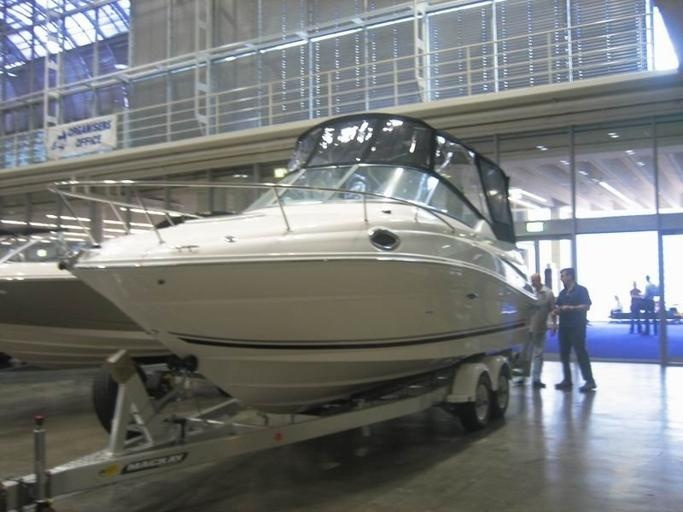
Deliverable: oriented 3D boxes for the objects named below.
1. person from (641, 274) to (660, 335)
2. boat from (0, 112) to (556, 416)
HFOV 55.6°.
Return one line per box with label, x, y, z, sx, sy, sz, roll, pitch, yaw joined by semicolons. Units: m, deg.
person;5.573;0.896;11.731;0.258;1.047;0.307;1;6;22
boat;-0.062;-0.020;6.644;1.957;3.099;4.531;3;6;43
